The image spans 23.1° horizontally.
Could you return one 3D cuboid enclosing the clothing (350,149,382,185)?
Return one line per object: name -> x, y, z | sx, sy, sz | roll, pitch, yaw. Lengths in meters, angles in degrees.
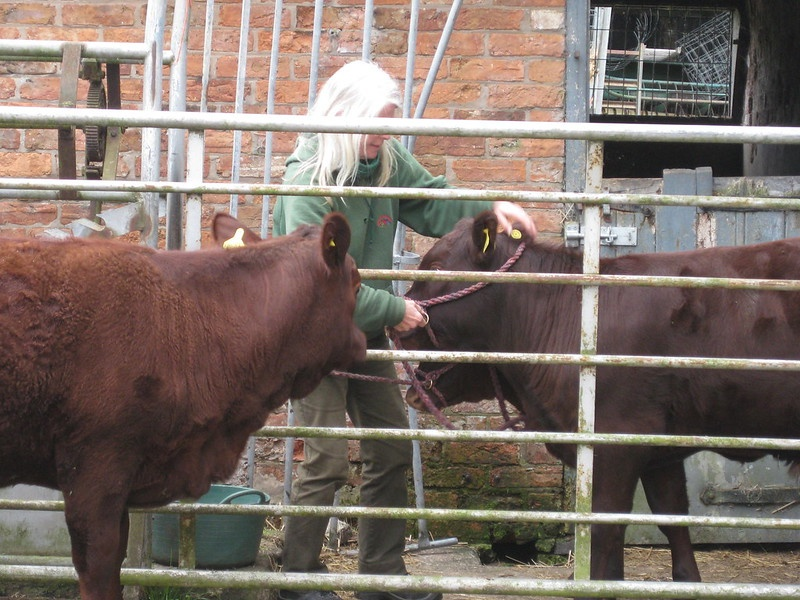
clothing -> -0.176, -0.684, 10.320 | 0.160, 0.147, 0.174 | 0, -6, 1
